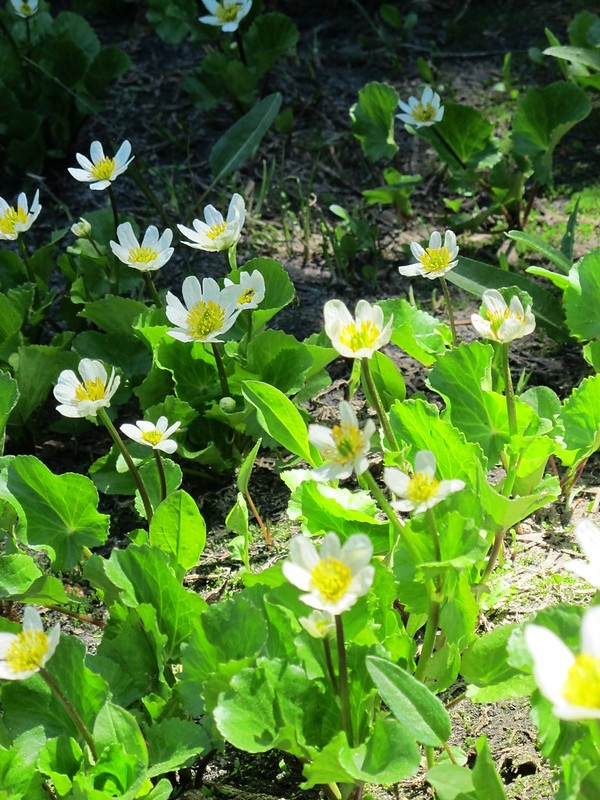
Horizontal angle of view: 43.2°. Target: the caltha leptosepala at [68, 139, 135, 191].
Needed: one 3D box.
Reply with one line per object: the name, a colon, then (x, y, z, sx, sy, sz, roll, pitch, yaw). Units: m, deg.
caltha leptosepala: (-0.494, -0.580, 1.917, 0.155, 0.067, 0.154, -10, 1, 19)
